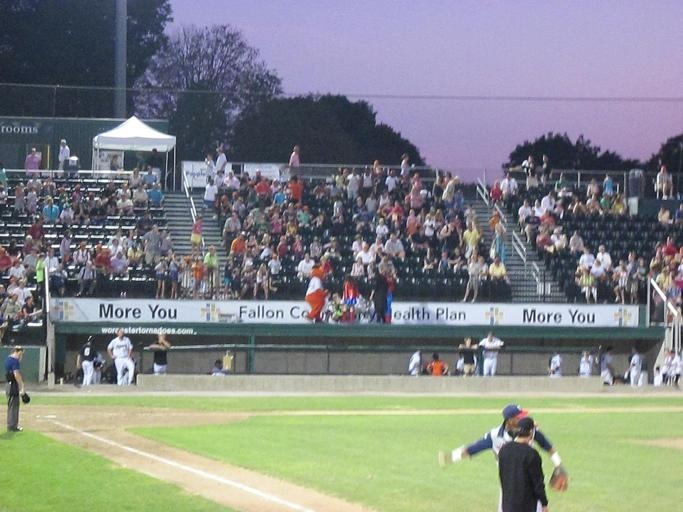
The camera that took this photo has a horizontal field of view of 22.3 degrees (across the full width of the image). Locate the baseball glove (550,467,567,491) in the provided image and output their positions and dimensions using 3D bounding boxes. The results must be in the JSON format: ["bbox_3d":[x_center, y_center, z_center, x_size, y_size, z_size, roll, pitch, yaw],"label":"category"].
[{"bbox_3d":[7.402,7.611,58.888,0.544,0.852,0.491,0,-1,8],"label":"baseball glove"}]

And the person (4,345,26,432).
[{"bbox_3d":[-12.674,5.138,66.595,0.669,3.280,1.282,1,-1,-11],"label":"person"}]
